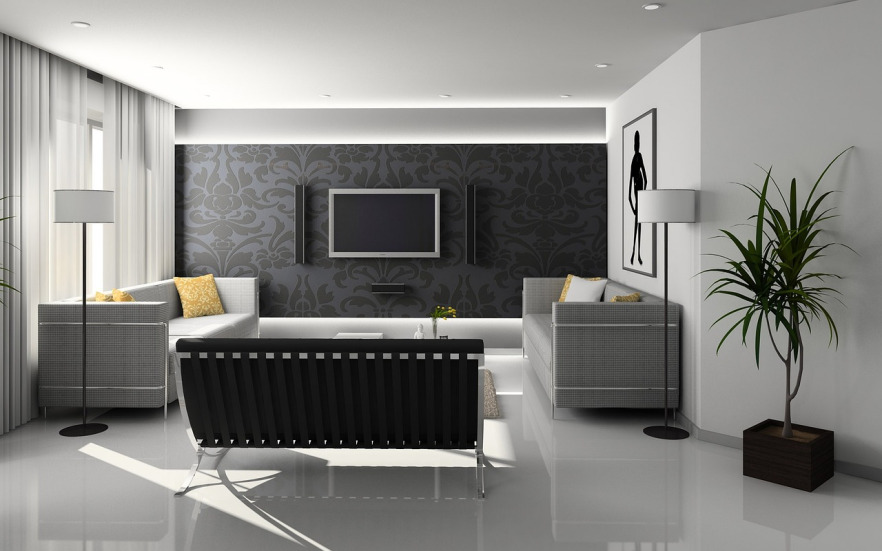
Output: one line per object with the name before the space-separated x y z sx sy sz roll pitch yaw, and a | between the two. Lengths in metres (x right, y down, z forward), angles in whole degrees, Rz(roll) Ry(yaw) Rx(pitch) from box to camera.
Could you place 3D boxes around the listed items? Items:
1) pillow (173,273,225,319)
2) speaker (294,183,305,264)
pillow | -3.137 0.264 7.926 0.176 0.524 0.580 -28 -10 32
speaker | -1.980 -0.702 8.580 0.174 1.107 0.280 -2 15 -7
